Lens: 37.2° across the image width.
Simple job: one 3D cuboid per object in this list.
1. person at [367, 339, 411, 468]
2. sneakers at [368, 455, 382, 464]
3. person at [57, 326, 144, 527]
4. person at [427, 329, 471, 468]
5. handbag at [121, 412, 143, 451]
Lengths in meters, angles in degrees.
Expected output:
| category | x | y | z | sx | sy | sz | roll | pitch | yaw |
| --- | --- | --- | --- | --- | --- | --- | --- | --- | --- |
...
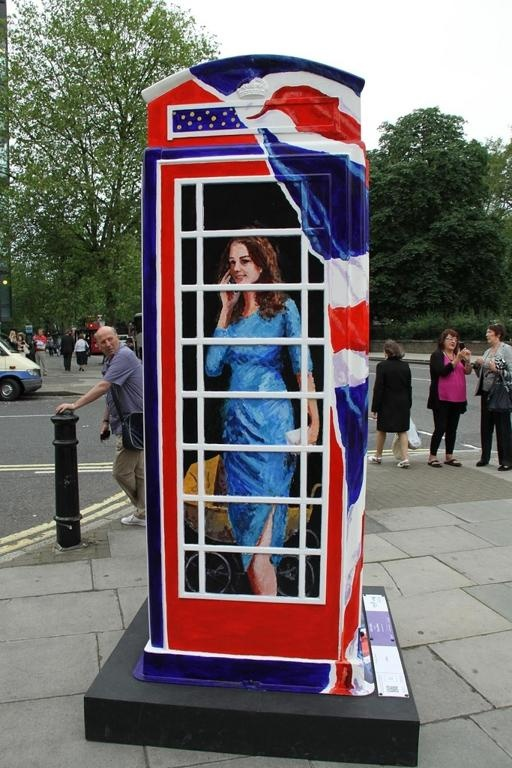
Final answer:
| category | x | y | z | sx | sy | sz | roll | pitch | yaw |
| --- | --- | --- | --- | --- | --- | --- | --- | --- | --- |
| person | 1.518 | 0.229 | 8.613 | 0.458 | 1.421 | 0.823 | 0 | 4 | 10 |
| sneakers | 1.393 | 0.890 | 8.905 | 0.070 | 0.081 | 0.190 | 4 | 1 | -9 |
| person | -1.097 | 0.364 | 5.745 | 0.482 | 1.580 | 1.125 | -1 | 4 | -9 |
| person | 2.155 | 0.175 | 8.458 | 0.465 | 1.539 | 0.848 | 0 | 4 | 15 |
| handbag | -0.923 | 0.370 | 5.703 | 0.125 | 0.299 | 0.136 | 3 | 6 | 41 |
